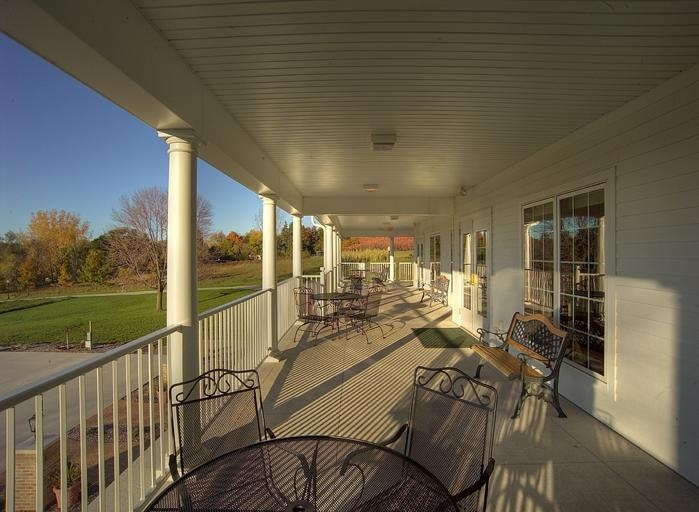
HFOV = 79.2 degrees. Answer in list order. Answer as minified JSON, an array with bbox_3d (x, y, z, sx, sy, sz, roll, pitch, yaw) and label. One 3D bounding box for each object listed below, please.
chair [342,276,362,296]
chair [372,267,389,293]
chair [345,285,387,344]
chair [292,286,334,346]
[{"bbox_3d":[0.066,0.910,12.636,0.446,0.622,0.462,1,-12,1],"label":"chair"},{"bbox_3d":[1.172,0.936,16.984,0.827,1.066,0.820,-3,-18,17],"label":"chair"},{"bbox_3d":[0.269,1.136,8.308,0.823,1.259,0.839,0,-1,33],"label":"chair"},{"bbox_3d":[-0.675,1.060,8.396,0.811,0.888,2.630,0,-1,-3],"label":"chair"}]
